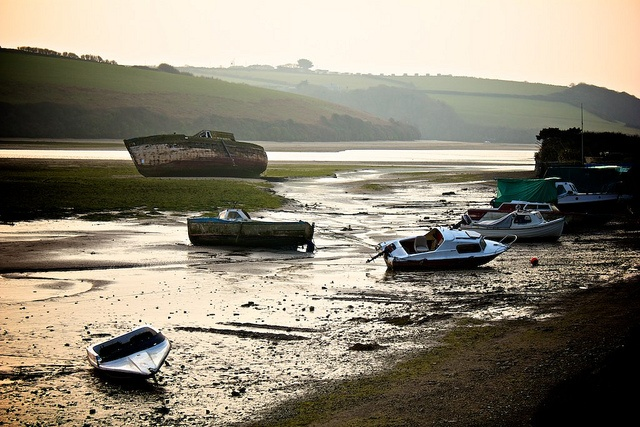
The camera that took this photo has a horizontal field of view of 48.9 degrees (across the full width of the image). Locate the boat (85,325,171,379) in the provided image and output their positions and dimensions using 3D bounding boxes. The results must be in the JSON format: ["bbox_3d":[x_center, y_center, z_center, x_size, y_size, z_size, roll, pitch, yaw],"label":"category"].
[{"bbox_3d":[-6.654,4.876,24.665,2.720,1.448,1.659,-3,12,-12],"label":"boat"}]

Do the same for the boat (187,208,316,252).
[{"bbox_3d":[-4.010,0.963,40.627,7.967,1.927,4.887,1,-3,-6],"label":"boat"}]

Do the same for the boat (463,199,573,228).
[{"bbox_3d":[12.552,0.114,48.289,9.051,1.217,2.075,0,4,2],"label":"boat"}]

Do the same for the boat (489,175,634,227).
[{"bbox_3d":[15.792,-1.039,52.441,14.276,3.023,3.638,0,5,8],"label":"boat"}]
